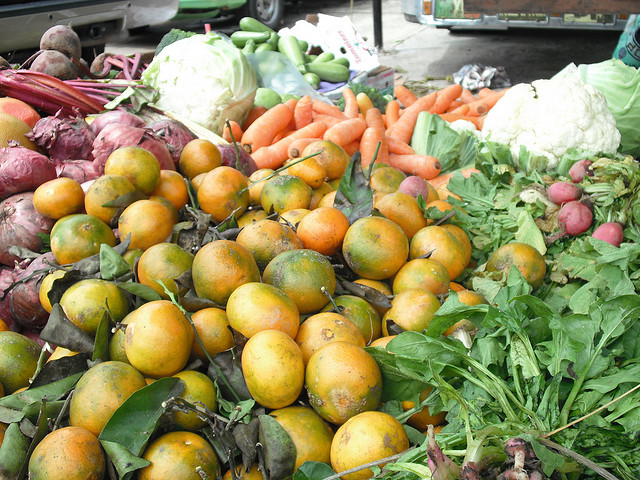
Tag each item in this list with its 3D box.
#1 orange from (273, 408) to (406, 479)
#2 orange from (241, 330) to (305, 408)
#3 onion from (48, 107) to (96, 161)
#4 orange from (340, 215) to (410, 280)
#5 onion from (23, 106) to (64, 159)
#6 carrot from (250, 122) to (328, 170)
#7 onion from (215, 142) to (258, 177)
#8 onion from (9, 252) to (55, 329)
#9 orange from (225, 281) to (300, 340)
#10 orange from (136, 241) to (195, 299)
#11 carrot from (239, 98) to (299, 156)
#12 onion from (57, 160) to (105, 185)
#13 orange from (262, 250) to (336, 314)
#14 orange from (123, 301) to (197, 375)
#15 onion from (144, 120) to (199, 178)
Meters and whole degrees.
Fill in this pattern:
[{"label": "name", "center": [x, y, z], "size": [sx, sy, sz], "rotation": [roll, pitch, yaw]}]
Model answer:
[{"label": "orange", "center": [0.079, 0.651, 1.895], "size": [0.364, 0.215, 0.184], "rotation": [-3, 81, -15]}, {"label": "orange", "center": [-0.162, 0.447, 2.042], "size": [0.199, 0.202, 0.275], "rotation": [-13, 77, -43]}, {"label": "onion", "center": [-1.355, -0.554, 3.134], "size": [0.206, 0.322, 0.265], "rotation": [-2, 19, 29]}, {"label": "orange", "center": [0.223, -0.010, 2.451], "size": [0.268, 0.283, 0.251], "rotation": [-21, 12, -15]}, {"label": "onion", "center": [-1.515, -0.600, 3.069], "size": [0.172, 0.220, 0.103], "rotation": [30, 0, -6]}, {"label": "carrot", "center": [-0.403, -0.682, 3.602], "size": [0.196, 0.774, 0.199], "rotation": [44, 59, -19]}, {"label": "onion", "center": [-0.474, -0.486, 3.257], "size": [0.233, 0.209, 0.205], "rotation": [-17, 21, -21]}, {"label": "onion", "center": [-1.244, 0.228, 2.426], "size": [0.258, 0.278, 0.313], "rotation": [-8, 12, -23]}, {"label": "orange", "center": [-0.229, 0.288, 2.182], "size": [0.313, 0.252, 0.308], "rotation": [5, 0, -23]}, {"label": "orange", "center": [-0.643, 0.138, 2.332], "size": [0.224, 0.287, 0.233], "rotation": [-2, 13, -16]}, {"label": "carrot", "center": [-0.381, -0.850, 4.255], "size": [0.201, 0.189, 0.657], "rotation": [54, 48, -13]}, {"label": "onion", "center": [-1.267, -0.340, 2.955], "size": [0.139, 0.152, 0.095], "rotation": [6, 81, -33]}, {"label": "orange", "center": [-0.101, 0.180, 2.335], "size": [0.308, 0.276, 0.339], "rotation": [4, 17, 13]}, {"label": "orange", "center": [-0.580, 0.370, 2.041], "size": [0.263, 0.222, 0.210], "rotation": [-8, 46, -14]}, {"label": "onion", "center": [-0.813, -0.605, 3.248], "size": [0.325, 0.385, 0.324], "rotation": [10, 22, 35]}]
